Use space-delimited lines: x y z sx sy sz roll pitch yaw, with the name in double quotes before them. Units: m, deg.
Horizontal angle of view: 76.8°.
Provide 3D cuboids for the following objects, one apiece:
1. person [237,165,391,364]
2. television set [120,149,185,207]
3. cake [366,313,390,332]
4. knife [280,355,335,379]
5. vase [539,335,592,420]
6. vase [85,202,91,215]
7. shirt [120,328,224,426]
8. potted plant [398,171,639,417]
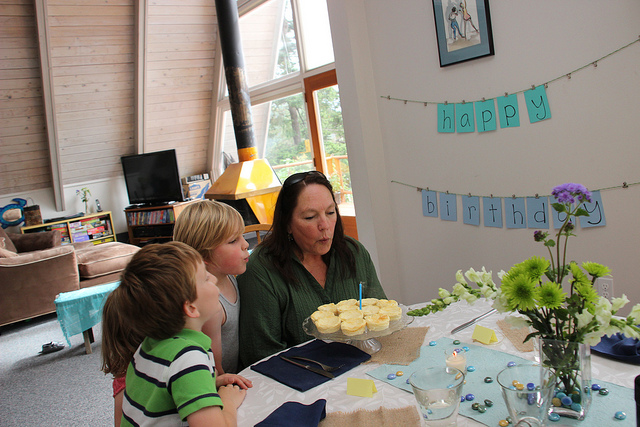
"person" -0.048 0.249 2.015 0.901 0.813 0.477 -6 6 -41
"television set" -2.796 -0.556 6.730 1.273 0.922 0.353 -2 10 26
"cake" 0.225 0.400 1.516 0.064 0.034 0.067 -6 6 -31
"knife" -0.056 0.567 1.494 0.254 0.029 0.024 1 13 37
"vase" 0.698 0.467 1.145 0.141 0.254 0.071 -4 11 17
"vase" -4.118 -0.094 7.107 0.087 0.194 0.145 -14 12 -30
"shirt" -0.471 0.508 1.248 0.180 0.279 0.321 -4 -7 -43
"potted plant" 0.843 0.278 1.639 0.896 0.868 0.541 0 -6 23
